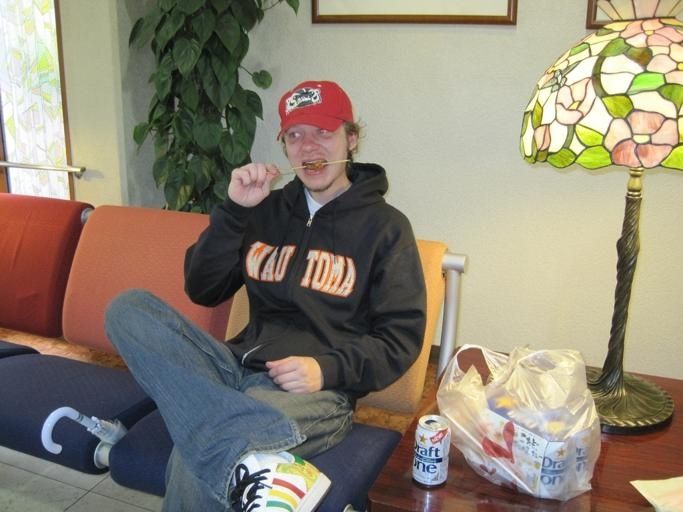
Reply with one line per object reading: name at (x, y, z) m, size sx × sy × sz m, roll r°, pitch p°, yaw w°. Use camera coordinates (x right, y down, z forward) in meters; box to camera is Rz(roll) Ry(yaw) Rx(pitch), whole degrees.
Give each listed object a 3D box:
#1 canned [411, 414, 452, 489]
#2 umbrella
canned at (0.225, 0.454, 1.303) m, size 0.119 × 0.155 × 0.066 m, roll 0°, pitch 8°, yaw -27°
umbrella at (-0.787, 0.536, 1.691) m, size 0.253 × 0.157 × 0.096 m, roll 5°, pitch 7°, yaw 12°
